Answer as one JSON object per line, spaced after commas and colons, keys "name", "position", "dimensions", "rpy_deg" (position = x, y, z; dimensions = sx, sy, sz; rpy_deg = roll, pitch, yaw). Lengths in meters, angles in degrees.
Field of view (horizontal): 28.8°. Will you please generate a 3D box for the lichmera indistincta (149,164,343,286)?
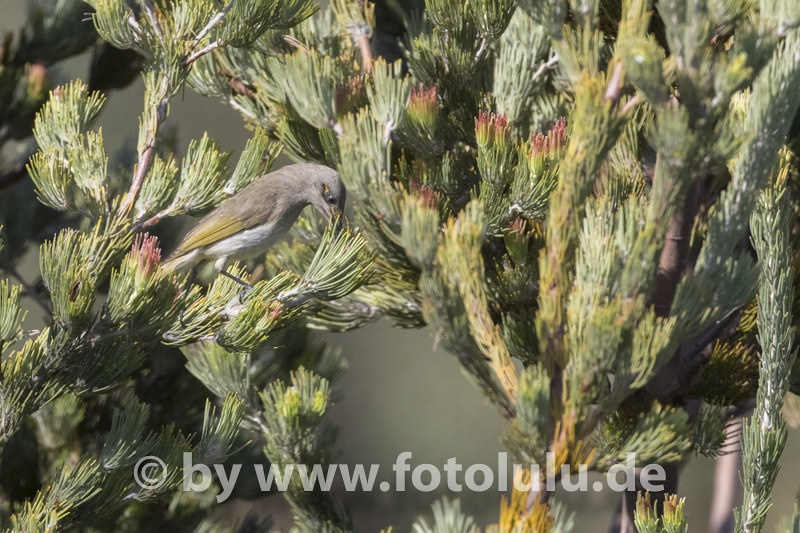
{"name": "lichmera indistincta", "position": [-0.589, -0.124, 5.765], "dimensions": [0.746, 0.500, 0.257], "rpy_deg": [1, -19, 13]}
